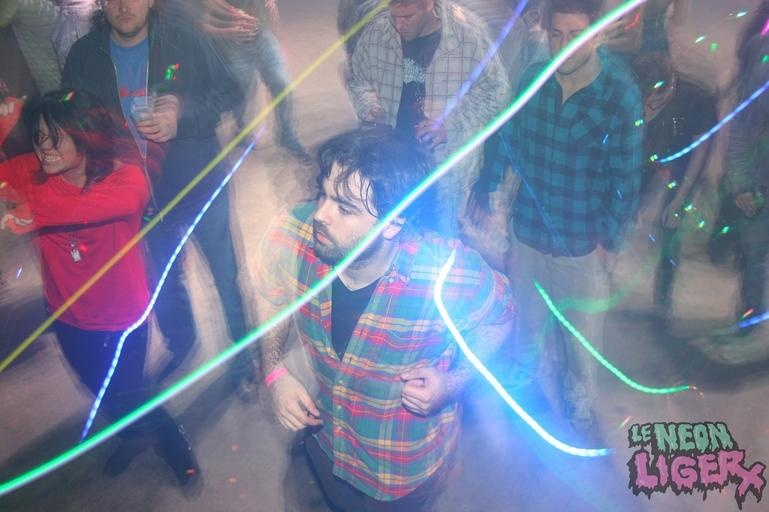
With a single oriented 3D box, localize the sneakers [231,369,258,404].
[{"bbox_3d":[-1.401,1.334,6.485,0.189,0.078,0.314,-6,56,-11],"label":"sneakers"}]
